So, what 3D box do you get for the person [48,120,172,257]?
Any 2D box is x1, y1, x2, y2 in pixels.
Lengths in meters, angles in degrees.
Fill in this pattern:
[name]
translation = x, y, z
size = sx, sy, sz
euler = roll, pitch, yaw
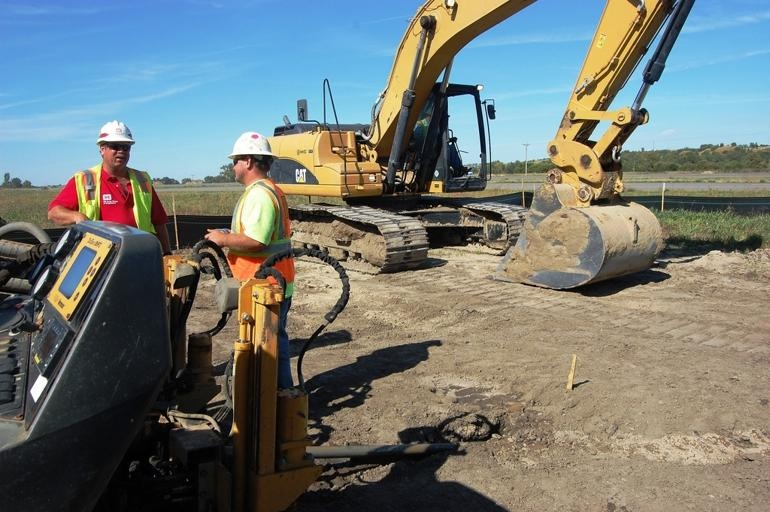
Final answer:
[person]
translation = -2.670, -0.643, 5.158
size = 0.935, 1.238, 0.352
euler = -5, 14, -20
